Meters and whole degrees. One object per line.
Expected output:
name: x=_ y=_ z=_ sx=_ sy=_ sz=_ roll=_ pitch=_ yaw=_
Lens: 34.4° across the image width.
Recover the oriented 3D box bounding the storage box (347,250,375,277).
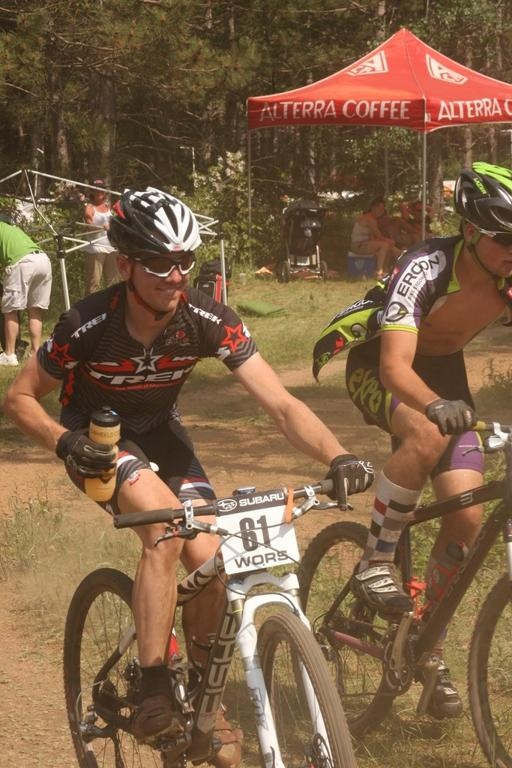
storage box: x=2.264 y=-2.593 z=17.626 sx=0.596 sy=0.531 sz=0.315 roll=3 pitch=6 yaw=23

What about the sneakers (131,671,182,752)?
sneakers: x=-0.276 y=0.927 z=2.340 sx=0.129 sy=0.180 sz=0.255 roll=2 pitch=40 yaw=-7

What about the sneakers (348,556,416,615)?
sneakers: x=0.427 y=0.729 z=2.966 sx=0.097 sy=0.119 sz=0.263 roll=24 pitch=-6 yaw=-32

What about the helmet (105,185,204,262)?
helmet: x=-0.318 y=-0.523 z=2.594 sx=0.277 sy=0.161 sz=0.378 roll=-9 pitch=27 yaw=-21

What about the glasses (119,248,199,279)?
glasses: x=-0.302 y=-0.369 z=2.526 sx=0.231 sy=0.083 sz=0.164 roll=2 pitch=9 yaw=-8

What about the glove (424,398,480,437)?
glove: x=0.548 y=0.090 z=2.374 sx=0.083 sy=0.055 sz=0.127 roll=-3 pitch=22 yaw=-19

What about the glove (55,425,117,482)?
glove: x=-0.461 y=0.215 z=2.336 sx=0.187 sy=0.169 sz=0.138 roll=-3 pitch=1 yaw=-21
